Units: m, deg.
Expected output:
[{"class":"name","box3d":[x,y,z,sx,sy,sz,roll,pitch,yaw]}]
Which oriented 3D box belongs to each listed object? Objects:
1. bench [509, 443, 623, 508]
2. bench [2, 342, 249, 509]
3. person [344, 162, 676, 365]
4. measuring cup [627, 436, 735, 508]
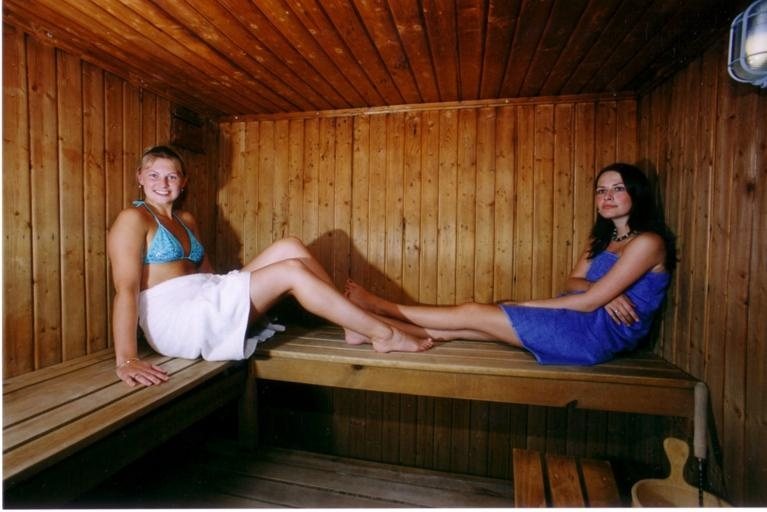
[{"class":"bench","box3d":[1.001,1.248,3.250,0.541,0.164,0.554,-1,4,11]},{"class":"bench","box3d":[-1.506,0.853,2.914,0.733,0.247,1.163,1,3,21]},{"class":"person","box3d":[0.727,0.036,3.680,1.982,1.138,0.644,0,7,10]},{"class":"measuring cup","box3d":[1.542,1.188,3.232,0.437,0.321,0.548,5,3,15]}]
